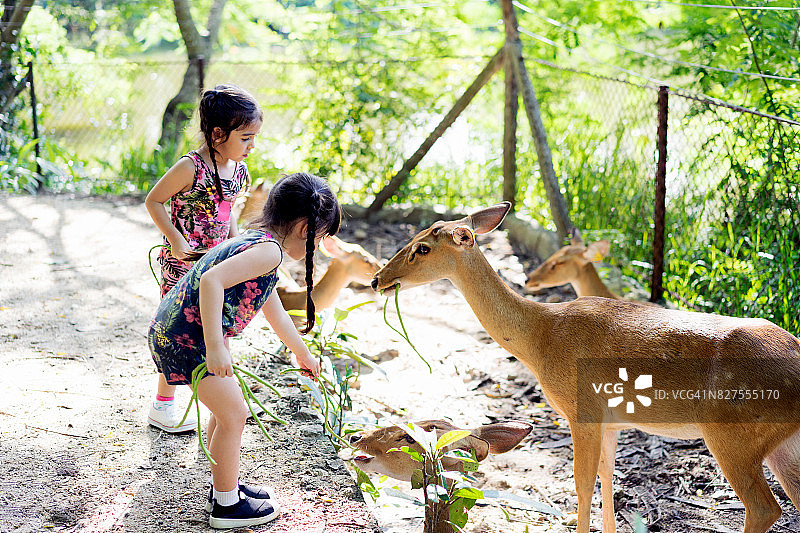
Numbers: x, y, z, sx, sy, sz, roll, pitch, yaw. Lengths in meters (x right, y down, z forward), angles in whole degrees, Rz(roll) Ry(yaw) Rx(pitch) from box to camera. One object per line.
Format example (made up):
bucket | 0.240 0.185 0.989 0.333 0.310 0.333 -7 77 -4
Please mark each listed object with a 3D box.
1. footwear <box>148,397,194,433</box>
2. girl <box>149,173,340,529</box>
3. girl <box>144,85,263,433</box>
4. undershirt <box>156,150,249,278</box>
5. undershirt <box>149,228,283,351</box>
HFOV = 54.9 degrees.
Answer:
footwear | -1.554 1.019 5.178 0.299 0.143 0.133 15 12 17
girl | -1.046 0.523 4.841 1.074 2.164 0.888 -1 3 -37
girl | -1.301 -0.002 5.370 0.824 2.529 0.754 3 12 -13
undershirt | -1.317 -0.342 5.253 0.404 0.981 0.737 0 -2 -31
undershirt | -1.088 0.176 4.744 0.898 0.932 0.486 5 -1 3
